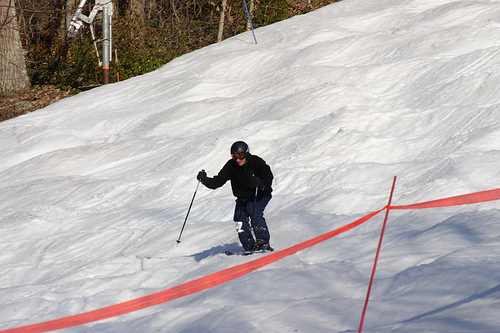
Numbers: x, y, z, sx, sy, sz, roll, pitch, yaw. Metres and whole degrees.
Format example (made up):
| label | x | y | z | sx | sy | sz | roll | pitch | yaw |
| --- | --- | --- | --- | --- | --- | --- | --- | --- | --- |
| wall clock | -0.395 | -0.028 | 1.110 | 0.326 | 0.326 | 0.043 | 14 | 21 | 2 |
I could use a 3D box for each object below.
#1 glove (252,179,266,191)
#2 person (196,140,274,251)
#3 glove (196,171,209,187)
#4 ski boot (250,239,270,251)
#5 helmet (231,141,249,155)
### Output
| label | x | y | z | sx | sy | sz | roll | pitch | yaw |
| --- | --- | --- | --- | --- | --- | --- | --- | --- | --- |
| glove | 0.177 | 0.353 | 11.415 | 0.206 | 0.299 | 0.242 | -11 | 18 | -1 |
| person | -0.125 | 0.556 | 11.592 | 1.186 | 2.076 | 0.688 | -9 | 20 | 7 |
| glove | -0.884 | 0.249 | 11.672 | 0.211 | 0.307 | 0.242 | -12 | 18 | -3 |
| ski boot | 0.173 | 1.484 | 11.608 | 0.320 | 0.104 | 0.211 | -4 | 28 | -1 |
| helmet | -0.199 | -0.336 | 11.379 | 0.202 | 0.225 | 0.297 | 8 | 24 | 44 |
